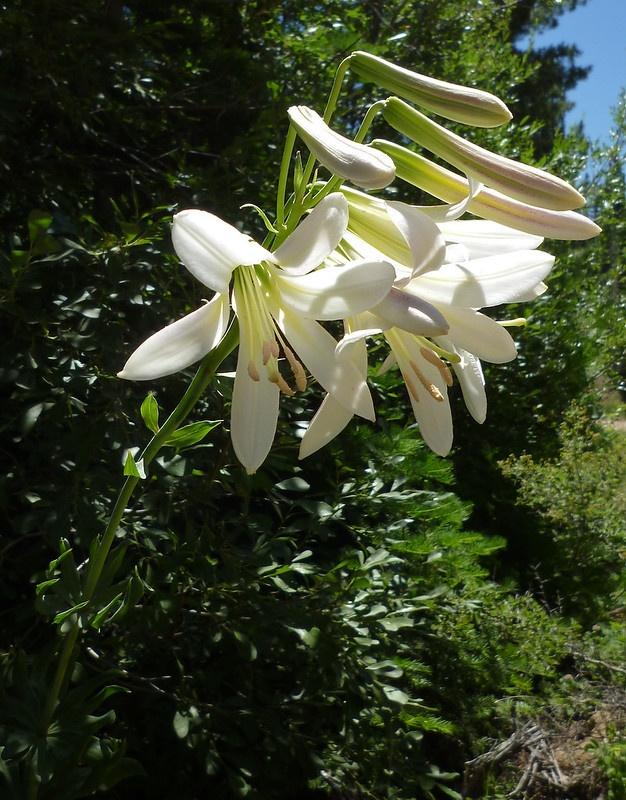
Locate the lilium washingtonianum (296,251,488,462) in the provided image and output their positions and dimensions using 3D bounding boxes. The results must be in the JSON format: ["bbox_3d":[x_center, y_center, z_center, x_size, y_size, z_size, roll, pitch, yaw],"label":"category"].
[{"bbox_3d":[0.119,-0.075,1.156,0.279,0.259,0.276,-23,-15,-6],"label":"lilium washingtonianum"}]

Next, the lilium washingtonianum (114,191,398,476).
[{"bbox_3d":[-0.072,-0.112,1.228,0.531,0.347,0.411,-8,21,-22],"label":"lilium washingtonianum"}]
